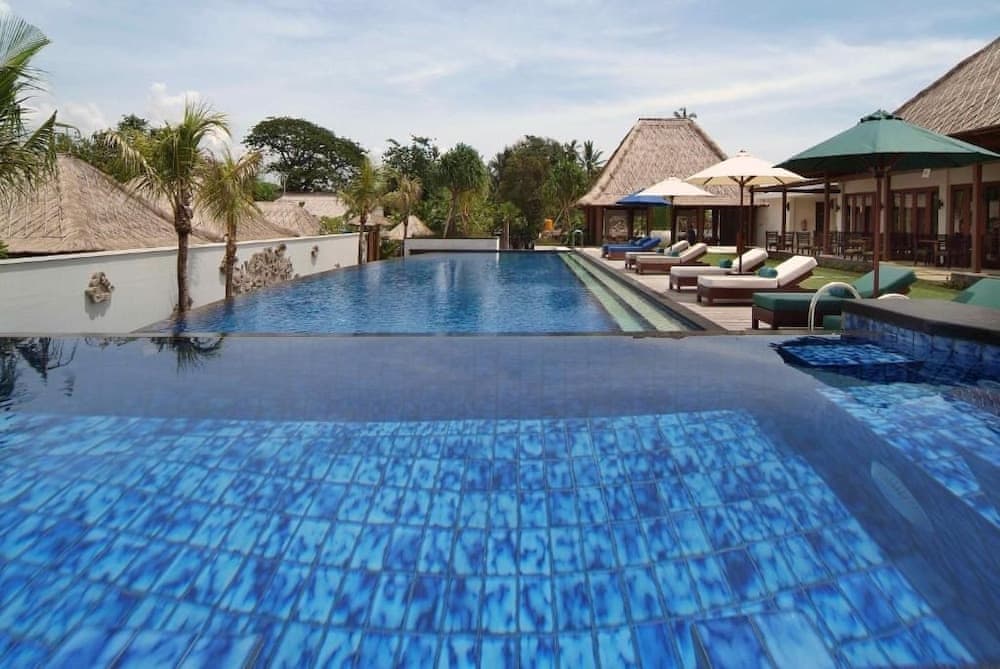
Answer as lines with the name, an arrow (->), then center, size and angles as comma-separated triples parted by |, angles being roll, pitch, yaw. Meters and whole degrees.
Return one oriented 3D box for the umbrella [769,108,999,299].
umbrella -> 5.820, -2.194, 8.853 | 2.879, 2.494, 2.449 | -7, 15, -27
